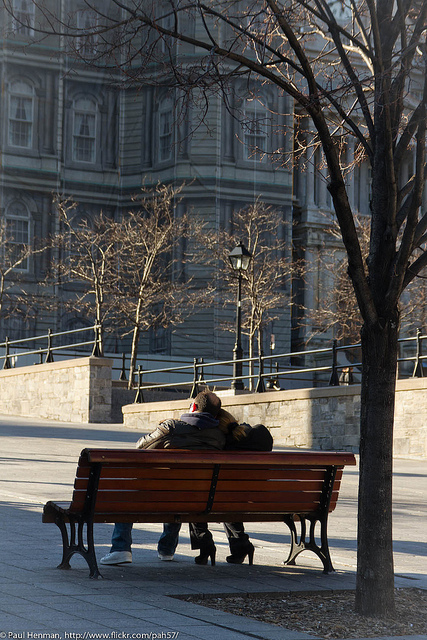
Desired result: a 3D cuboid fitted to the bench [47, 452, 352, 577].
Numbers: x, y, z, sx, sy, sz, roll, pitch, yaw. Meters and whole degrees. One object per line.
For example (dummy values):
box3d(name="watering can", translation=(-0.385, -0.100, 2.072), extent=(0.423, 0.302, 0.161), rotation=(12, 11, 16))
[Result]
box3d(name="bench", translation=(-0.086, 1.342, 8.967), extent=(2.091, 0.789, 0.696), rotation=(4, -7, -28))
